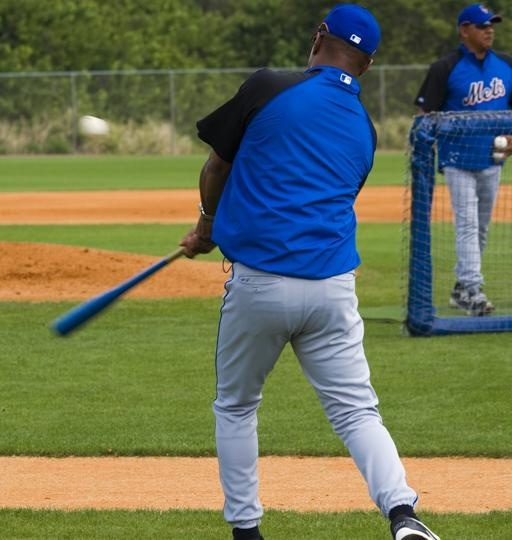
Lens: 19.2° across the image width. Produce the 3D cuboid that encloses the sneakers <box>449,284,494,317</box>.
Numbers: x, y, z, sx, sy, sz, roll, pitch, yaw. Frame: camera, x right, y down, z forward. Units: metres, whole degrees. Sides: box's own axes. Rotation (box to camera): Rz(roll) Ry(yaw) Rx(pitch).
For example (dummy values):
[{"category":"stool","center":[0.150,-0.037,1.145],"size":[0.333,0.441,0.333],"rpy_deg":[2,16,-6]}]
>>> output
[{"category":"sneakers","center":[1.680,0.224,11.926],"size":[0.215,0.154,0.279],"rpy_deg":[9,-2,-16]}]

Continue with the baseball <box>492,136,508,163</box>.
[{"category":"baseball","center":[1.876,-0.932,11.669],"size":[0.065,0.166,0.098],"rpy_deg":[1,-33,-3]}]

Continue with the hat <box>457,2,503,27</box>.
[{"category":"hat","center":[1.678,-1.935,11.747],"size":[0.281,0.152,0.203],"rpy_deg":[0,7,40]}]

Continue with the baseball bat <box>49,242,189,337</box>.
[{"category":"baseball bat","center":[-1.125,0.165,12.308],"size":[1.021,0.148,0.123],"rpy_deg":[-37,-30,1]}]
